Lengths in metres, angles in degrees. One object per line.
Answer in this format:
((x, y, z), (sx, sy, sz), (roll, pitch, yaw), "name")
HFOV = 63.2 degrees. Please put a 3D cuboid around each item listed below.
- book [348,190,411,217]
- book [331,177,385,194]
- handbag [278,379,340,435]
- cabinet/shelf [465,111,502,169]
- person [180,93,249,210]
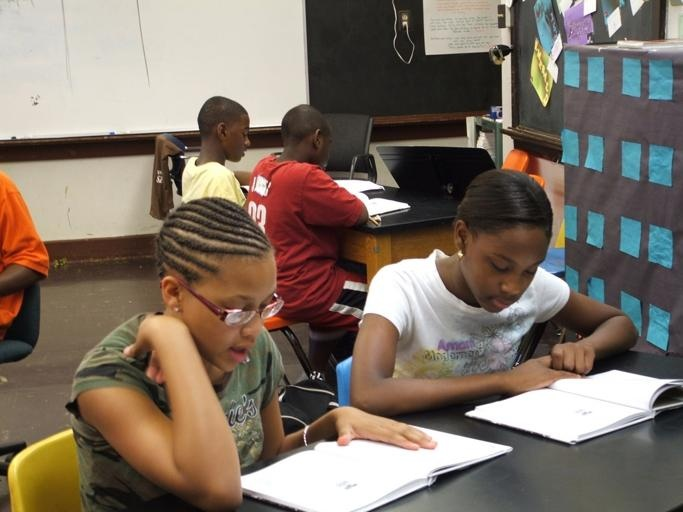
((0.227, -0.275, 3.001), (0.185, 0.075, 0.186), (-11, 21, -32), "book")
((0.111, -0.439, 3.441), (0.179, 0.049, 0.194), (-5, 16, -24), "book")
((-0.103, 0.446, 1.713), (0.158, 0.126, 0.215), (-1, 5, -5), "handbag")
((1.207, -0.922, 4.699), (0.220, 0.397, 0.396), (-11, 0, 14), "cabinet/shelf")
((-0.730, -0.625, 3.316), (0.378, 0.664, 0.711), (-1, 15, -22), "person")
